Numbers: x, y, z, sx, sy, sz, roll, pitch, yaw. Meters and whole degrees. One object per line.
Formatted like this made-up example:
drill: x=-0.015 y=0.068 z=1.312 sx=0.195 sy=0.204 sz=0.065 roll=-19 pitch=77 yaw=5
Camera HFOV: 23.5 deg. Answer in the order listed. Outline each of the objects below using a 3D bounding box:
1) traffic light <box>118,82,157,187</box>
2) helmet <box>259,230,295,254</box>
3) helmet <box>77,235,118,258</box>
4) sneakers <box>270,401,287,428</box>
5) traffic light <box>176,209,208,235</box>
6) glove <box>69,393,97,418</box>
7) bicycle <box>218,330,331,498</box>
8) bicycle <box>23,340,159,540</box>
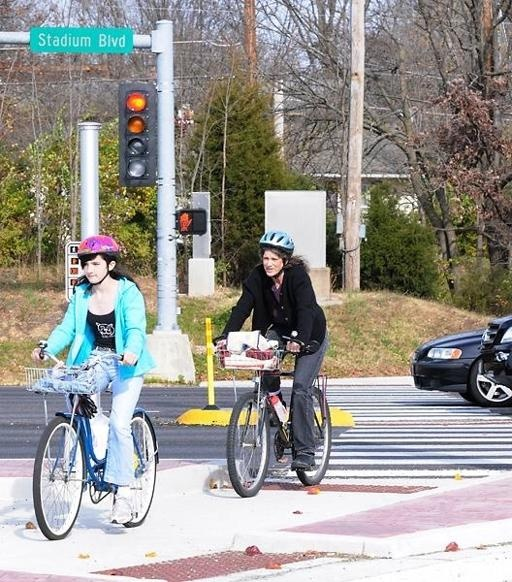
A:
traffic light: x=-1.448 y=-1.923 z=15.017 sx=0.443 sy=1.436 sz=0.415 roll=0 pitch=38 yaw=-5
helmet: x=0.185 y=-0.354 z=9.136 sx=0.163 sy=0.130 sz=0.260 roll=7 pitch=-16 yaw=23
helmet: x=-1.026 y=-0.286 z=8.024 sx=0.259 sy=0.130 sz=0.237 roll=-1 pitch=5 yaw=-9
sneakers: x=0.165 y=0.946 z=9.233 sx=0.050 sy=0.171 sz=0.114 roll=-1 pitch=14 yaw=31
traffic light: x=-0.879 y=-0.932 z=16.791 sx=0.418 sy=0.358 sz=0.615 roll=-1 pitch=5 yaw=-5
glove: x=-1.090 y=0.750 z=7.841 sx=0.108 sy=0.176 sz=0.064 roll=-10 pitch=-16 yaw=-34
bicycle: x=0.106 y=0.926 z=9.235 sx=0.624 sy=1.301 sz=1.377 roll=1 pitch=5 yaw=17
bicycle: x=-1.065 y=0.959 z=7.863 sx=0.520 sy=1.297 sz=1.162 roll=2 pitch=5 yaw=27
